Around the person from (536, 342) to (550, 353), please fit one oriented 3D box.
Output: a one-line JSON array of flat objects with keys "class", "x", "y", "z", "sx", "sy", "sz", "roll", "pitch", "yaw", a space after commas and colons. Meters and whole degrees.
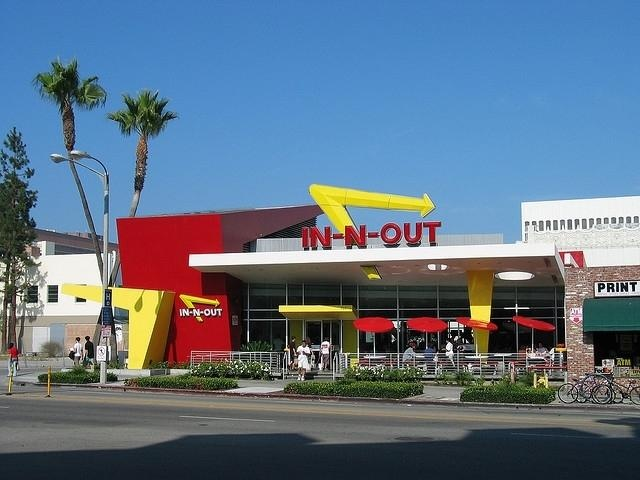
[{"class": "person", "x": 12.513, "y": 6.130, "z": 44.846, "sx": 0.295, "sy": 0.823, "sz": 0.415, "roll": 21, "pitch": -32, "yaw": -40}]
